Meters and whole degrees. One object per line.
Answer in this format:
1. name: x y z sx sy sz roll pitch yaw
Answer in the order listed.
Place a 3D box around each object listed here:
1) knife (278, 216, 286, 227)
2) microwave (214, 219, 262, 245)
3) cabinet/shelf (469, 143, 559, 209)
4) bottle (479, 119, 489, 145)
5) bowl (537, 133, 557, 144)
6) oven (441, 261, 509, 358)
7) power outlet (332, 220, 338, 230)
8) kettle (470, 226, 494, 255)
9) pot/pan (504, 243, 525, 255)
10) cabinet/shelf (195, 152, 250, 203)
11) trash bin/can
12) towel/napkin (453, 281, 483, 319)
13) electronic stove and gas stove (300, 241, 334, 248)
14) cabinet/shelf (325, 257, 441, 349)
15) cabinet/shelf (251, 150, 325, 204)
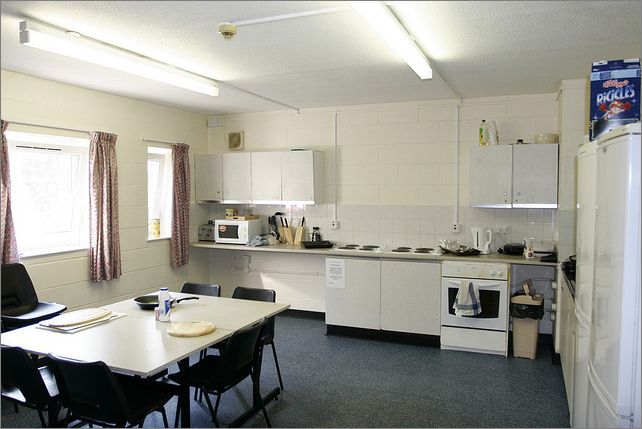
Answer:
1. knife: -0.602 0.117 7.087 0.079 0.140 0.048 -23 -5 31
2. microwave: -1.282 0.245 7.015 0.552 0.334 0.418 -1 -2 27
3. cabinet/shelf: 2.585 -0.508 5.910 0.411 0.813 1.158 -5 6 -42
4. bottle: 2.147 -1.083 5.970 0.099 0.301 0.162 -3 12 -12
5. bowl: 2.851 -0.956 5.739 0.176 0.074 0.174 0 0 0
6. oven: 2.035 1.184 6.087 1.151 1.449 1.077 -1 -3 17
7. power outlet: 0.202 0.158 6.883 0.113 0.147 0.031 4 12 20
8. kettle: 2.108 0.327 5.946 0.363 0.401 0.262 2 5 30
9. pot/pan: 2.529 0.447 5.966 0.235 0.124 0.274 3 11 19
10. cabinet/shelf: -1.480 -0.571 7.272 1.035 0.792 0.367 0 0 19
11. trash bin/can: 2.507 1.303 5.569 0.359 0.872 0.318 4 12 22
12. towel/napkin: 1.796 1.048 5.552 0.386 0.391 0.133 1 -9 10
13. electronic stove and gas stove: -0.032 0.432 6.687 0.468 0.079 0.319 -3 11 -13
14. cabinet/shelf: 1.089 1.124 6.407 1.821 1.103 0.958 -3 -6 38
15. cabinet/shelf: -0.492 -0.563 6.981 1.171 0.796 0.441 3 5 27
